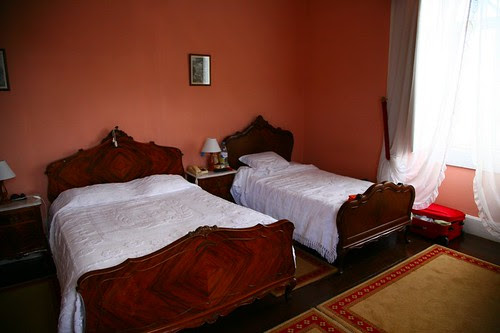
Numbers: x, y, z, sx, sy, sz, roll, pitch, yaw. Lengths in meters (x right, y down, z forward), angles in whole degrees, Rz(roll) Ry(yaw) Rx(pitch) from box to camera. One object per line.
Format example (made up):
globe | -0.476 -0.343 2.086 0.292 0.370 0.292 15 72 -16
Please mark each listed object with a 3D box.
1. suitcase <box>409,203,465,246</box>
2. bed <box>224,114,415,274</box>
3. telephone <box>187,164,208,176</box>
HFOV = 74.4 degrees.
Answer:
suitcase | 2.975 0.909 5.294 0.513 0.423 0.658 -16 21 -36
bed | 1.045 0.213 5.758 1.860 1.836 2.964 -9 15 -34
telephone | -0.912 0.060 5.640 0.190 0.089 0.256 -8 17 -32
